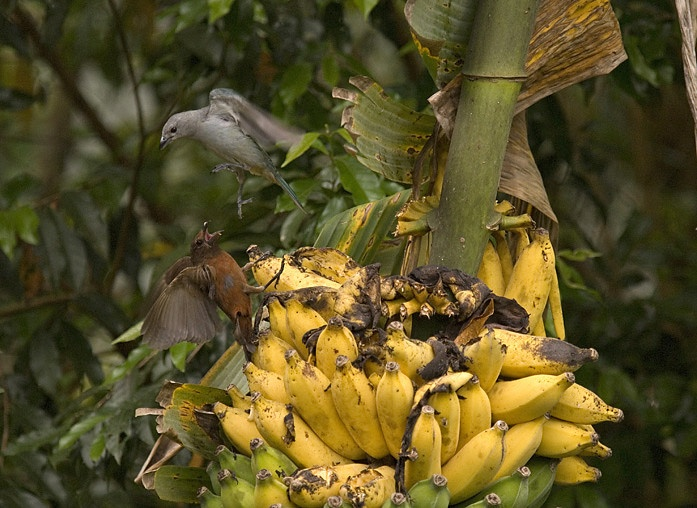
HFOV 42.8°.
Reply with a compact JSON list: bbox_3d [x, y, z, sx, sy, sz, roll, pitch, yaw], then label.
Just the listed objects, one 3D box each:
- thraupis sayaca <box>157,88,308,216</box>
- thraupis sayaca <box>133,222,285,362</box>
[{"bbox_3d":[-0.417,-0.369,3.418,0.615,0.471,0.543,4,3,-30],"label":"thraupis sayaca"},{"bbox_3d":[-0.460,0.106,2.987,0.302,0.478,0.413,-2,-4,0],"label":"thraupis sayaca"}]
